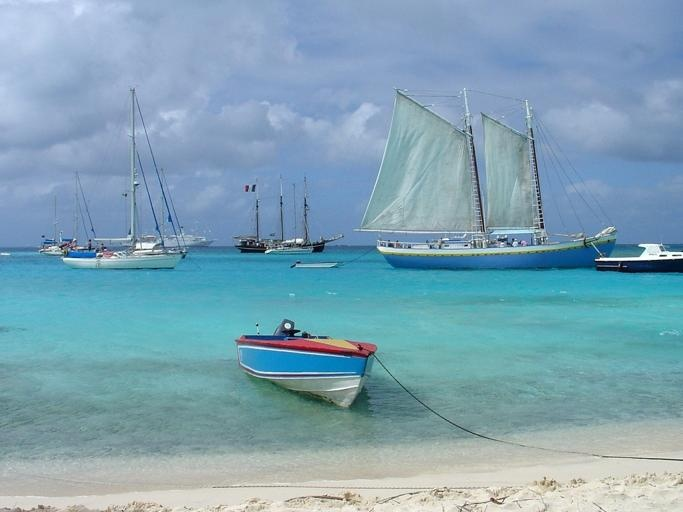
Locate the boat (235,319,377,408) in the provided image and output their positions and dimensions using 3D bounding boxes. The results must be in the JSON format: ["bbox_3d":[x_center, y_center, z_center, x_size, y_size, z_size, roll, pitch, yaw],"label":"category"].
[{"bbox_3d":[-1.096,4.032,26.614,4.096,2.311,7.030,4,-3,-34],"label":"boat"}]

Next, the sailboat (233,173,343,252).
[{"bbox_3d":[-13.377,-8.191,164.375,27.209,14.555,7.436,2,6,25],"label":"sailboat"}]
